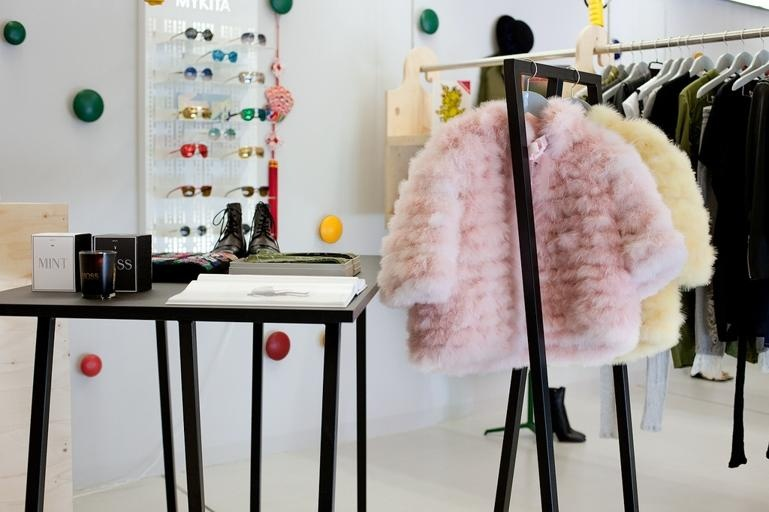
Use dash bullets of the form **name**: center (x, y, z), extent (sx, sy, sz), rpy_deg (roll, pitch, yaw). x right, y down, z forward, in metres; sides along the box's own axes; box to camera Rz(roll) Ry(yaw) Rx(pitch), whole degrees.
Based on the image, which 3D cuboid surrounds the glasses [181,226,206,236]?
- **glasses**: center (-0.985, -0.124, 3.455), extent (0.125, 0.049, 0.047), rpy_deg (1, 6, -19)

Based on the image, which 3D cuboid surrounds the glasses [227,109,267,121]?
- **glasses**: center (-0.708, -0.739, 3.520), extent (0.243, 0.065, 0.077), rpy_deg (-7, 10, -34)

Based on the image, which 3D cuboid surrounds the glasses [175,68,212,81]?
- **glasses**: center (-0.942, -0.916, 3.394), extent (0.134, 0.060, 0.021), rpy_deg (-5, 9, -23)

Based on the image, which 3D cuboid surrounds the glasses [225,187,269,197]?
- **glasses**: center (-0.726, -0.334, 3.551), extent (0.238, 0.062, 0.057), rpy_deg (-7, 10, -31)

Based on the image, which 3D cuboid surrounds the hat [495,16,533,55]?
- **hat**: center (0.830, -1.359, 4.168), extent (0.296, 0.243, 0.103), rpy_deg (-7, 10, -33)

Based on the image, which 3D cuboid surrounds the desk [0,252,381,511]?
- **desk**: center (-0.539, 0.452, 2.397), extent (1.076, 1.053, 1.093), rpy_deg (1, 0, 10)

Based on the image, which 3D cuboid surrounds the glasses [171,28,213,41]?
- **glasses**: center (-0.972, -1.116, 3.398), extent (0.196, 0.060, 0.044), rpy_deg (-5, 9, -23)

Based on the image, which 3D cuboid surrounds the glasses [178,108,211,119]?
- **glasses**: center (-0.960, -0.719, 3.402), extent (0.163, 0.057, 0.050), rpy_deg (-4, 9, -17)

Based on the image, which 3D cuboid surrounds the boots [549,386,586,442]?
- **boots**: center (1.052, 0.874, 3.781), extent (0.168, 0.347, 0.387), rpy_deg (3, 9, 27)

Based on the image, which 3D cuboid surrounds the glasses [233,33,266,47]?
- **glasses**: center (-0.675, -1.107, 3.450), extent (0.123, 0.061, 0.040), rpy_deg (-3, 8, -14)

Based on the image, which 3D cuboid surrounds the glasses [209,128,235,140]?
- **glasses**: center (-0.839, -0.622, 3.461), extent (0.101, 0.039, 0.063), rpy_deg (2, 47, -12)

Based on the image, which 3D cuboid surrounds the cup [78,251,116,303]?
- **cup**: center (-0.874, 0.058, 2.041), extent (0.114, 0.132, 0.111), rpy_deg (1, 0, 0)

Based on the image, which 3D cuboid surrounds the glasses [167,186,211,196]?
- **glasses**: center (-0.995, -0.328, 3.429), extent (0.230, 0.058, 0.041), rpy_deg (-5, 9, -20)

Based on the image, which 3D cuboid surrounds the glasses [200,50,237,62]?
- **glasses**: center (-0.831, -1.011, 3.423), extent (0.093, 0.034, 0.092), rpy_deg (2, 5, 37)
